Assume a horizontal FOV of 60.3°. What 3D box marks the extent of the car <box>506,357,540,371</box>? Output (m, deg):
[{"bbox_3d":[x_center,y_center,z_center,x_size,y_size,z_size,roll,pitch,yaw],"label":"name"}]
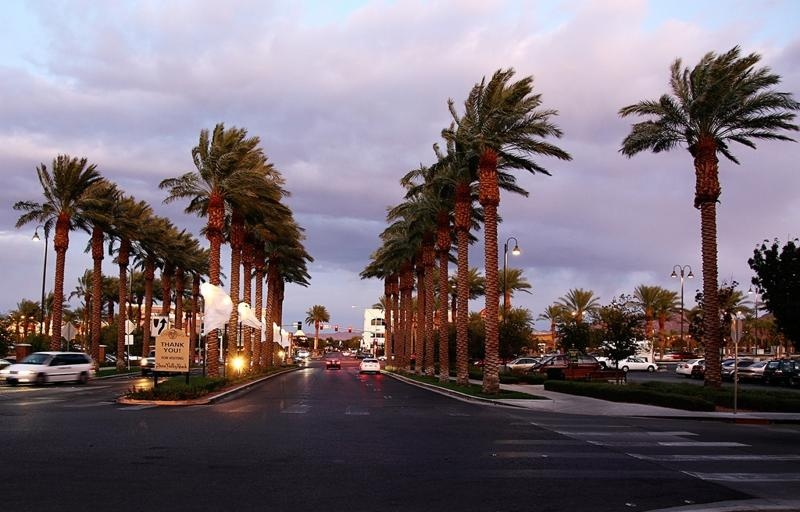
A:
[{"bbox_3d":[11.537,10.313,64.277,3.388,1.155,1.539,3,-8,-7],"label":"car"}]
